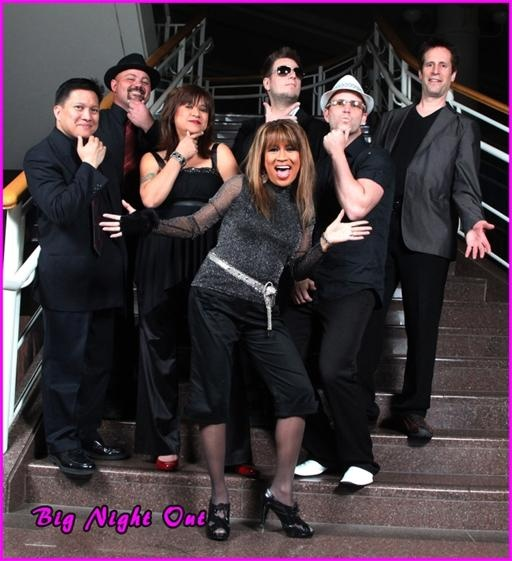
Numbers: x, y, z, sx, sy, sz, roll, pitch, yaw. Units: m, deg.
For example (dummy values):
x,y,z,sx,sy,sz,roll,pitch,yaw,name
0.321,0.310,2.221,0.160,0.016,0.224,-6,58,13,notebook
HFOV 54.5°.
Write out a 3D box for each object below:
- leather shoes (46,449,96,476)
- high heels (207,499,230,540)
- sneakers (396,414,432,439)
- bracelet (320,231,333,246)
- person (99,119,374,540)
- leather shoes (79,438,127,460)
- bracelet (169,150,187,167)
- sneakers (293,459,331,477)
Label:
x,y,z,sx,sy,sz,roll,pitch,yaw,name
-0.804,0.783,2.201,0.211,0.093,0.099,7,2,30,leather shoes
-0.133,0.870,1.803,0.058,0.166,0.072,0,-8,1,high heels
0.751,0.695,2.383,0.060,0.077,0.151,-49,23,-9,sneakers
0.260,-0.150,1.821,0.065,0.070,0.029,1,8,18,bracelet
0.051,0.181,1.858,0.626,1.480,0.532,-15,21,-33,person
-0.708,0.813,2.370,0.231,0.090,0.084,2,-3,8,leather shoes
-0.318,-0.510,2.076,0.072,0.068,0.048,26,61,11,bracelet
0.241,0.833,2.224,0.200,0.081,0.071,5,-15,-14,sneakers
